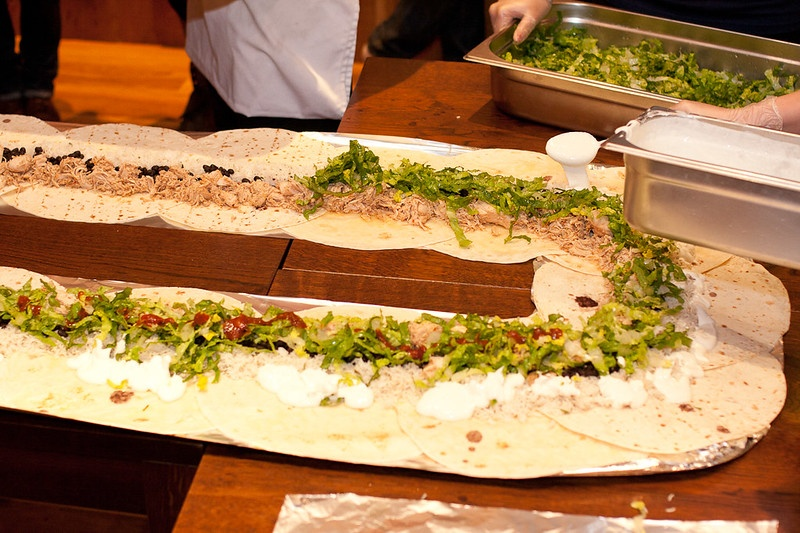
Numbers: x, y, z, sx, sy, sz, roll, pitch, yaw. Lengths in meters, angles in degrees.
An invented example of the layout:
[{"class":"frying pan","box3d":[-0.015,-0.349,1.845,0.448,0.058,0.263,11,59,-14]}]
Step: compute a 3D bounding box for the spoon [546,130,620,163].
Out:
[{"class":"spoon","box3d":[0.434,-0.297,1.566,0.122,0.044,0.098,-14,30,-22]}]
